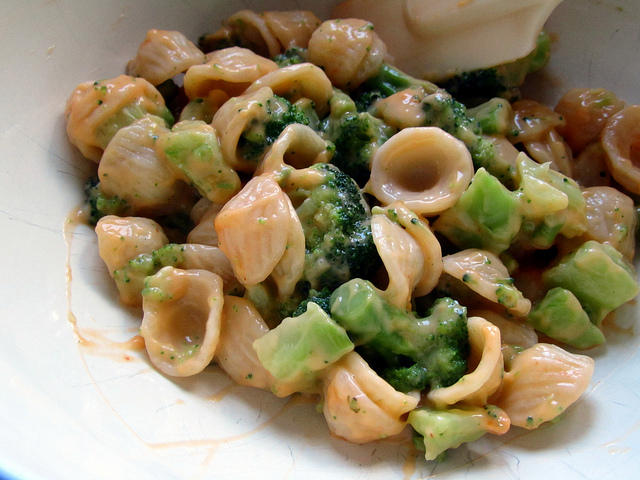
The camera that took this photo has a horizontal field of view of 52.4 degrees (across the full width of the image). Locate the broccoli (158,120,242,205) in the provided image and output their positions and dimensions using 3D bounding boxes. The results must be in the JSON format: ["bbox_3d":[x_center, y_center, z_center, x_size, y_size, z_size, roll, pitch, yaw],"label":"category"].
[{"bbox_3d":[-0.396,-0.254,2.170,0.274,0.201,0.147,32,55,25],"label":"broccoli"}]

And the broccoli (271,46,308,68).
[{"bbox_3d":[-0.110,-0.684,2.439,0.106,0.033,0.110,20,59,43],"label":"broccoli"}]

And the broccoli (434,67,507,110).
[{"bbox_3d":[0.598,-0.576,2.508,0.181,0.143,0.073,-3,69,34],"label":"broccoli"}]

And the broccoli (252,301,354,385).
[{"bbox_3d":[-0.052,0.308,1.966,0.283,0.155,0.146,-14,49,-13],"label":"broccoli"}]

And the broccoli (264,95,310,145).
[{"bbox_3d":[-0.126,-0.392,2.199,0.134,0.048,0.164,1,63,16],"label":"broccoli"}]

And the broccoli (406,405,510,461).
[{"bbox_3d":[0.412,0.539,1.921,0.238,0.116,0.158,-17,66,-7],"label":"broccoli"}]

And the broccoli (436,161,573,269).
[{"bbox_3d":[0.625,-0.071,2.161,0.429,0.281,0.212,-14,49,-13],"label":"broccoli"}]

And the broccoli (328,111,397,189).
[{"bbox_3d":[0.135,-0.327,2.250,0.237,0.231,0.101,-37,7,20],"label":"broccoli"}]

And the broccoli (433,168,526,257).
[{"bbox_3d":[0.519,-0.087,2.130,0.268,0.273,0.092,36,26,4],"label":"broccoli"}]

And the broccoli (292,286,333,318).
[{"bbox_3d":[-0.016,0.196,2.043,0.085,0.027,0.092,-19,44,28],"label":"broccoli"}]

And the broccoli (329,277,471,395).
[{"bbox_3d":[0.238,0.305,2.001,0.426,0.206,0.256,5,48,4],"label":"broccoli"}]

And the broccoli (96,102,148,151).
[{"bbox_3d":[-0.688,-0.401,2.224,0.163,0.059,0.133,-55,38,0],"label":"broccoli"}]

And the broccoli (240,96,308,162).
[{"bbox_3d":[-0.171,-0.371,2.203,0.216,0.063,0.200,-51,36,8],"label":"broccoli"}]

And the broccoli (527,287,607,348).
[{"bbox_3d":[0.791,0.257,2.125,0.240,0.088,0.154,37,99,3],"label":"broccoli"}]

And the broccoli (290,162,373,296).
[{"bbox_3d":[0.029,-0.040,2.101,0.128,0.380,0.276,-1,8,-6],"label":"broccoli"}]

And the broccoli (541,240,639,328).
[{"bbox_3d":[0.888,0.118,2.125,0.267,0.108,0.280,-39,82,18],"label":"broccoli"}]
